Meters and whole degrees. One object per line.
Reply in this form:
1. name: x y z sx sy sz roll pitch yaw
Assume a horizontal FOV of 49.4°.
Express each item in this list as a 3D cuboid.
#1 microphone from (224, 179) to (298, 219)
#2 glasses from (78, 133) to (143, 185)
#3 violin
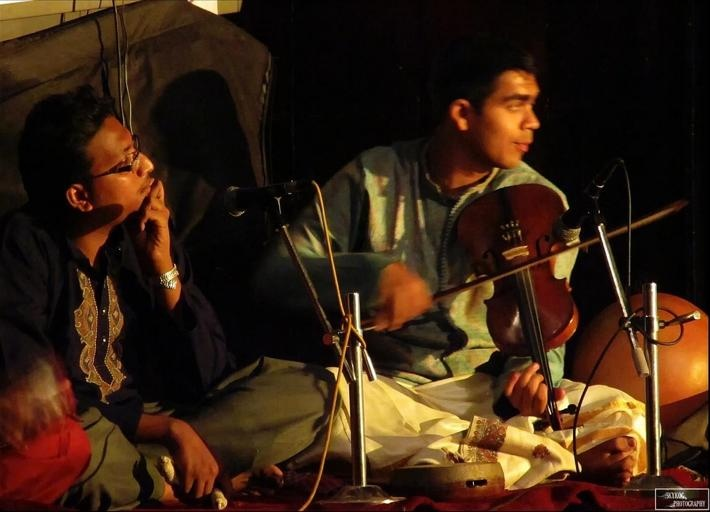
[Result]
1. microphone: -0.334 -0.202 2.792 0.293 0.107 0.069 -2 4 29
2. glasses: -0.955 -0.371 3.043 0.188 0.054 0.179 -16 20 10
3. violin: 0.688 0.190 3.100 0.448 0.960 0.228 -15 -10 12
